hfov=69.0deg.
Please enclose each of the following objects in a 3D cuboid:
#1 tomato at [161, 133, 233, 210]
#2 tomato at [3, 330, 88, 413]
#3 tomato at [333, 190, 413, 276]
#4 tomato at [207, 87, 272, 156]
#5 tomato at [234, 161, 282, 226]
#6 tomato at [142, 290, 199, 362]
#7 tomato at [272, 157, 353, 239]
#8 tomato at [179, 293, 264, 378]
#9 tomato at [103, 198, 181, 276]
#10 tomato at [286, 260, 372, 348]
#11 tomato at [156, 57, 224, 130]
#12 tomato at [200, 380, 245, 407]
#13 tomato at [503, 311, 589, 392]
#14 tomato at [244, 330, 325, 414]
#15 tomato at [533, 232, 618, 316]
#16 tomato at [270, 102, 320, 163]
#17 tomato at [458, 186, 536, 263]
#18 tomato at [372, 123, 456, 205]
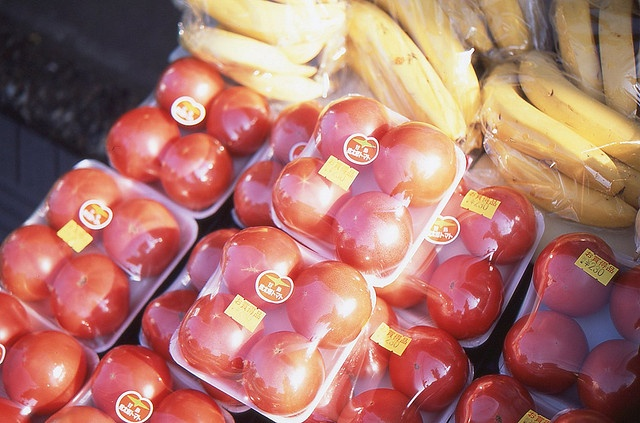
[{"bbox_3d":[-0.560,-0.181,2.083,0.320,0.307,0.343,-5,83,-20],"label":"tomato"},{"bbox_3d":[-1.037,0.607,1.771,0.264,0.111,0.285,-28,71,-2],"label":"tomato"},{"bbox_3d":[0.177,0.039,1.628,0.234,0.245,0.310,9,101,36],"label":"tomato"},{"bbox_3d":[-0.395,-0.409,2.124,0.264,0.273,0.289,1,46,-23],"label":"tomato"},{"bbox_3d":[-0.227,-0.058,1.909,0.218,0.235,0.292,0,89,-3],"label":"tomato"},{"bbox_3d":[-0.599,0.473,1.862,0.221,0.131,0.247,13,37,-14],"label":"tomato"},{"bbox_3d":[0.000,-0.052,1.695,0.243,0.312,0.284,6,90,5],"label":"tomato"},{"bbox_3d":[-0.332,0.406,1.540,0.277,0.090,0.265,13,75,11],"label":"tomato"},{"bbox_3d":[-0.747,0.114,1.971,0.263,0.177,0.306,26,77,15],"label":"tomato"},{"bbox_3d":[0.064,0.305,1.578,0.244,0.269,0.315,0,54,8],"label":"tomato"},{"bbox_3d":[-0.610,-0.512,2.181,0.272,0.288,0.299,-1,81,-22],"label":"tomato"},{"bbox_3d":[-0.365,0.698,1.749,0.126,0.125,0.082,21,97,-26],"label":"tomato"},{"bbox_3d":[0.787,0.509,1.741,0.264,0.209,0.261,-37,74,-2],"label":"tomato"},{"bbox_3d":[-0.097,0.505,1.575,0.227,0.241,0.301,3,89,25],"label":"tomato"},{"bbox_3d":[0.911,0.221,1.675,0.247,0.098,0.312,24,77,14],"label":"tomato"},{"bbox_3d":[-0.105,-0.337,2.043,0.183,0.153,0.258,35,82,-1],"label":"tomato"},{"bbox_3d":[0.682,0.052,1.810,0.288,0.131,0.292,-8,71,5],"label":"tomato"},{"bbox_3d":[0.305,-0.123,1.661,0.241,0.255,0.311,-3,81,46],"label":"tomato"}]
